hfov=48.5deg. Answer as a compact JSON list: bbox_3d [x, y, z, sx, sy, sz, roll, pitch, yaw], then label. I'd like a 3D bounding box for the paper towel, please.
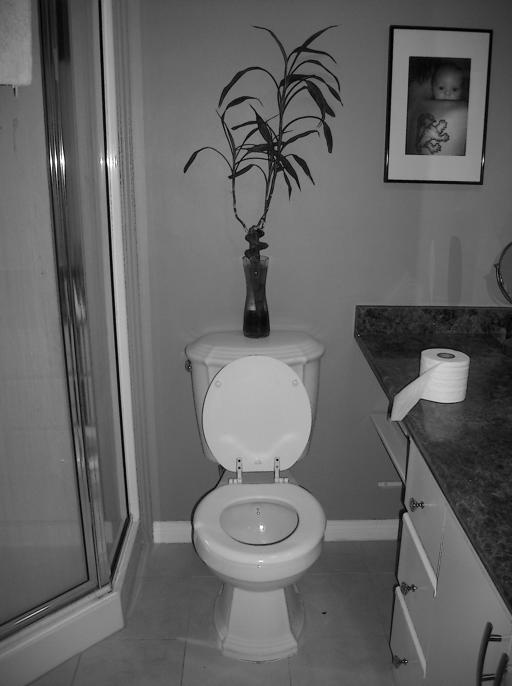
[{"bbox_3d":[0.402,0.098,1.316,0.123,0.114,0.230,9,17,37],"label":"paper towel"}]

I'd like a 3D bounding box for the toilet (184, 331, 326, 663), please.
[{"bbox_3d":[0.010,0.434,1.672,0.421,0.827,0.609,-2,12,-5],"label":"toilet"}]

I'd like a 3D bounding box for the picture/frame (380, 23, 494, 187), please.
[{"bbox_3d":[0.556,-0.762,1.752,0.325,0.604,0.020,1,11,-2],"label":"picture/frame"}]
